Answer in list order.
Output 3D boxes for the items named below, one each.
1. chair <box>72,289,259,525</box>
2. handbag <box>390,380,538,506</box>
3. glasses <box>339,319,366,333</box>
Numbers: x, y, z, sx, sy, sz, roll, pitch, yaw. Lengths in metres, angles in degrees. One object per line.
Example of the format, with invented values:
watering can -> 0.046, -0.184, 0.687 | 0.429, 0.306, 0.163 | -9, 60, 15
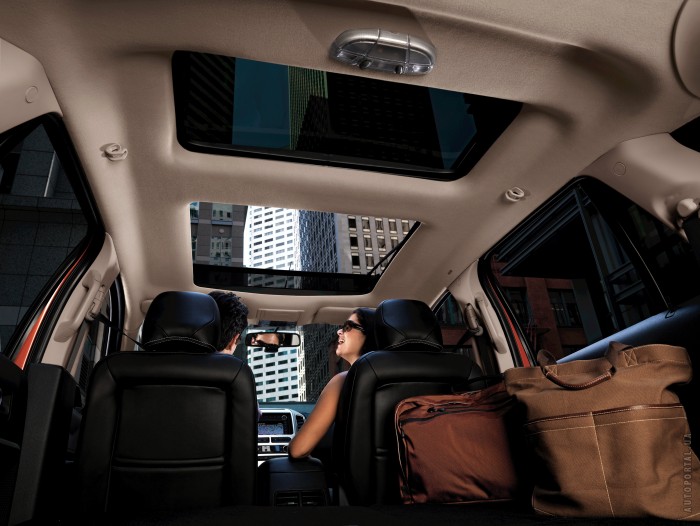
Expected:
chair -> -0.827, 0.672, 2.220 | 0.587, 1.051, 0.913 | 2, -32, -5
handbag -> 0.459, 0.816, 2.305 | 0.623, 0.616, 0.479 | -1, -32, 1
glasses -> 0.030, 0.405, 3.151 | 0.099, 0.041, 0.103 | 16, -11, -4
